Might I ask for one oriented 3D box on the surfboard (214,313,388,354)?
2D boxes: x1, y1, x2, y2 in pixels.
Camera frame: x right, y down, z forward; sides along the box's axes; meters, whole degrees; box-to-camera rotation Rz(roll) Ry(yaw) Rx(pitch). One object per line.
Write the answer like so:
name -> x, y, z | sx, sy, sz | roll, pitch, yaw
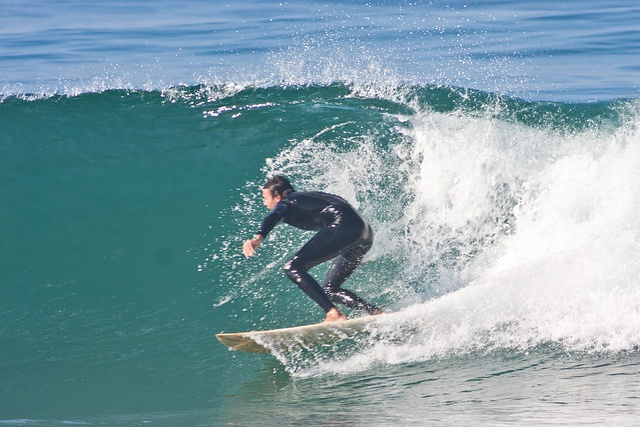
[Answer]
surfboard -> -0.223, 1.704, 13.498 | 2.810, 0.370, 0.239 | -5, 34, -2
